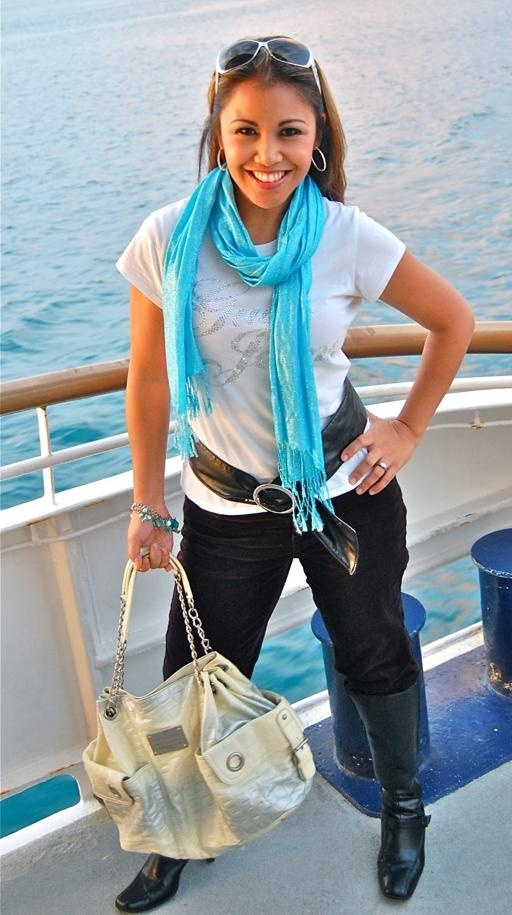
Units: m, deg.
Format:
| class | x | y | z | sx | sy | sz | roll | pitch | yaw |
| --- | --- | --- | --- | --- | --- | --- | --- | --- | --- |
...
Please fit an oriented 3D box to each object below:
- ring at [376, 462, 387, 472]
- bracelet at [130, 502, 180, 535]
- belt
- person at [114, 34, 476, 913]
| class | x | y | z | sx | sy | sz | roll | pitch | yaw |
| --- | --- | --- | --- | --- | --- | --- | --- | --- | --- |
| ring | 0.210 | 0.014 | 1.189 | 0.013 | 0.016 | 0.008 | -2 | -13 | -10 |
| bracelet | -0.179 | 0.108 | 1.274 | 0.072 | 0.028 | 0.047 | 31 | 33 | -3 |
| belt | 0.029 | 0.027 | 1.181 | 0.236 | 0.319 | 0.100 | -33 | 27 | -14 |
| person | 0.072 | 0.098 | 1.254 | 0.609 | 1.454 | 0.324 | -2 | 13 | 14 |
